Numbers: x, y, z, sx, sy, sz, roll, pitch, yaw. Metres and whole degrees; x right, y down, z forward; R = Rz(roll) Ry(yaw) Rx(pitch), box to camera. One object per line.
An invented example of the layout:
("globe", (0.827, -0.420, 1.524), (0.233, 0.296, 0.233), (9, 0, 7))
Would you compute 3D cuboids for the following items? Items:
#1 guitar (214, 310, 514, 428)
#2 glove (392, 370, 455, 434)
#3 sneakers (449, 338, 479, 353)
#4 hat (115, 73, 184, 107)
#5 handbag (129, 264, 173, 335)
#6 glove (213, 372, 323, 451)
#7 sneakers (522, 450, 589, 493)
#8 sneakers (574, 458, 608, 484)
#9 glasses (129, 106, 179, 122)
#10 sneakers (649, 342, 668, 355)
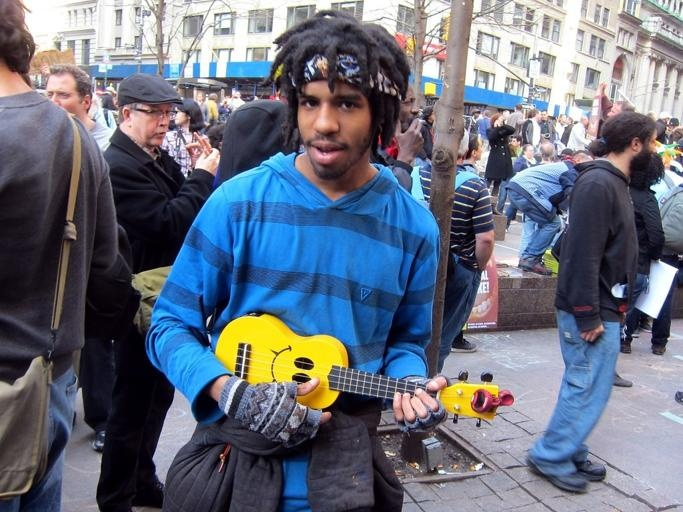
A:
("guitar", (0.153, 0.432, 2.201), (1.229, 0.399, 0.189), (11, 5, 2))
("glove", (0.295, 0.533, 2.044), (0.192, 0.192, 0.246), (6, 11, 12))
("sneakers", (1.527, 1.132, 6.994), (0.400, 0.160, 0.150), (0, 9, -7))
("hat", (-1.314, -1.163, 3.821), (0.498, 0.220, 0.375), (7, 22, 20))
("handbag", (-1.107, 0.277, 3.203), (0.205, 0.385, 0.488), (-1, 12, -18))
("glove", (-0.281, 0.519, 1.977), (0.485, 0.224, 0.126), (2, -15, 38))
("sneakers", (1.665, 1.668, 4.281), (0.440, 0.185, 0.185), (8, 7, 19))
("sneakers", (1.979, 1.702, 4.378), (0.242, 0.087, 0.171), (2, 16, 8))
("glasses", (-1.272, -0.969, 3.699), (0.250, 0.072, 0.095), (-4, 13, -36))
("sneakers", (4.467, 1.300, 7.766), (0.128, 0.102, 0.303), (-12, -17, 32))
